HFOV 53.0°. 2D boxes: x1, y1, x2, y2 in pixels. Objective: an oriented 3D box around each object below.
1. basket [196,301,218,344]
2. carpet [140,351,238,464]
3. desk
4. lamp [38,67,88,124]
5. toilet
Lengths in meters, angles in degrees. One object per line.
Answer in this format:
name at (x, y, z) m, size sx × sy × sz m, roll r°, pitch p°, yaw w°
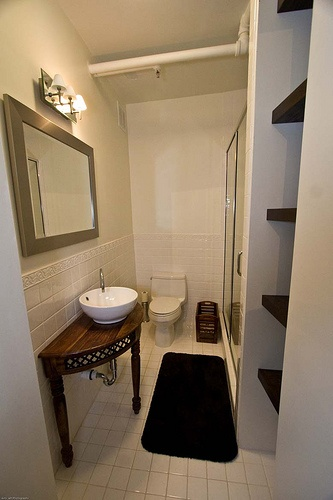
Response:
basket at (0.331, 0.524, 2.788) m, size 0.181 × 0.308 × 0.364 m, roll 1°, pitch 6°, yaw 6°
carpet at (0.158, 0.879, 2.042) m, size 0.485 × 0.019 × 1.175 m, roll 0°, pitch 4°, yaw 9°
desk at (-0.346, 0.646, 1.689) m, size 0.321 × 0.577 × 0.613 m, roll 6°, pitch 16°, yaw 24°
lamp at (-0.475, -0.715, 1.518) m, size 0.069 × 0.148 × 0.250 m, roll 1°, pitch 12°, yaw 3°
toilet at (0.000, 0.487, 2.709) m, size 0.250 × 0.531 × 0.472 m, roll 1°, pitch 9°, yaw 8°
